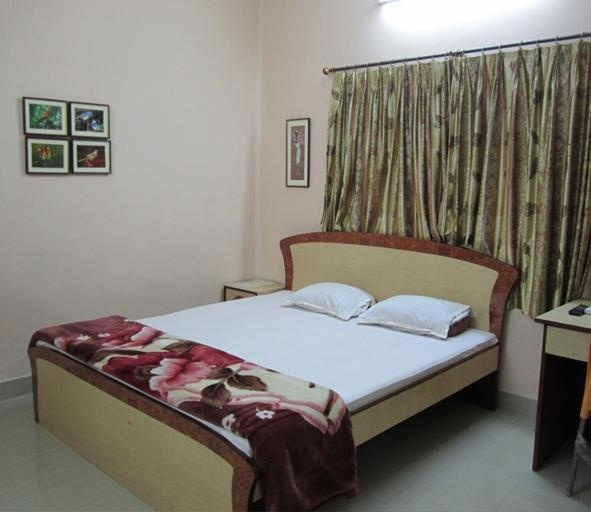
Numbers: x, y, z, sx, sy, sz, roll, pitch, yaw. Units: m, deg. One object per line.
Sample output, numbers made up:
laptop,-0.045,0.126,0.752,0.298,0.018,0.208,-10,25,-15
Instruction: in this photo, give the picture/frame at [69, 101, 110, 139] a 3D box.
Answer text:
picture/frame,-1.511,-0.992,3.336,0.020,0.255,0.268,7,10,42

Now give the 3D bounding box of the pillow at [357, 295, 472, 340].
pillow,0.784,0.385,3.023,0.387,0.134,0.378,7,16,38

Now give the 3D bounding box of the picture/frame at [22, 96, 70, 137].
picture/frame,-1.722,-0.956,3.139,0.027,0.279,0.284,3,2,35

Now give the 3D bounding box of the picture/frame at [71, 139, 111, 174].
picture/frame,-1.514,-0.734,3.363,0.018,0.227,0.238,6,8,42

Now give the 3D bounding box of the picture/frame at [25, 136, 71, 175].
picture/frame,-1.725,-0.697,3.168,0.024,0.235,0.246,6,8,41
